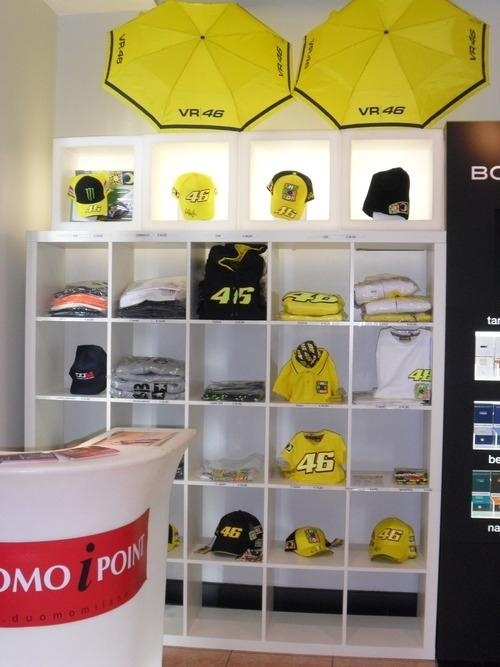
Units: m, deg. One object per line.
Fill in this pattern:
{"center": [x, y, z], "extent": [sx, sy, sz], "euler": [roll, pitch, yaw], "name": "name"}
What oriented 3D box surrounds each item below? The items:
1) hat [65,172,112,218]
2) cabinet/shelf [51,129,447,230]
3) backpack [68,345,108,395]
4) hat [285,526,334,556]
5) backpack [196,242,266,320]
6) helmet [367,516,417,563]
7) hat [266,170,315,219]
{"center": [-0.817, -0.715, 3.170], "extent": [0.214, 0.295, 0.112], "euler": [-10, -27, -14], "name": "hat"}
{"center": [-0.008, -0.772, 3.197], "extent": [1.927, 0.485, 0.285], "euler": [1, 12, 4], "name": "cabinet/shelf"}
{"center": [-0.819, 0.190, 3.231], "extent": [0.182, 0.242, 0.091], "euler": [-2, -12, 6], "name": "backpack"}
{"center": [0.280, 1.048, 3.156], "extent": [0.136, 0.089, 0.179], "euler": [3, -15, -26], "name": "hat"}
{"center": [-0.088, -0.240, 3.003], "extent": [0.307, 0.377, 0.120], "euler": [0, 2, 6], "name": "backpack"}
{"center": [0.700, 1.014, 3.105], "extent": [0.241, 0.167, 0.331], "euler": [5, -2, 18], "name": "helmet"}
{"center": [0.189, -0.679, 3.091], "extent": [0.190, 0.270, 0.134], "euler": [10, -37, 1], "name": "hat"}
